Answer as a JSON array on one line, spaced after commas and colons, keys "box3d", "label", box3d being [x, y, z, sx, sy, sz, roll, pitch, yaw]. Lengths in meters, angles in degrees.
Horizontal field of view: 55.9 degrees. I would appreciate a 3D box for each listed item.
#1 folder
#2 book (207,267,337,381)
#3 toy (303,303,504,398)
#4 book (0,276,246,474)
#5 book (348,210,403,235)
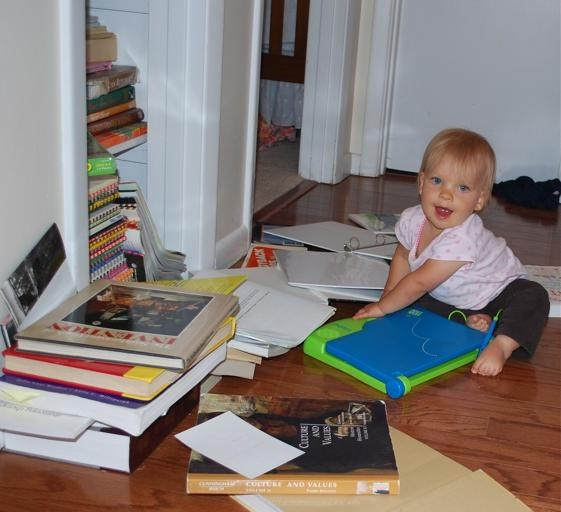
[{"box3d": [0.182, -0.060, 1.709, 0.206, 0.021, 0.216, -7, 18, -30], "label": "folder"}, {"box3d": [-0.005, 0.133, 1.170, 0.262, 0.049, 0.251, 13, 21, 29], "label": "book"}, {"box3d": [0.257, 0.177, 1.139, 0.339, 0.088, 0.262, -14, 24, -39], "label": "toy"}, {"box3d": [-0.219, 0.187, 0.807, 0.272, 0.074, 0.318, 11, 29, 21], "label": "book"}, {"box3d": [0.360, -0.129, 2.016, 0.138, 0.012, 0.142, 13, 21, 34], "label": "book"}]
